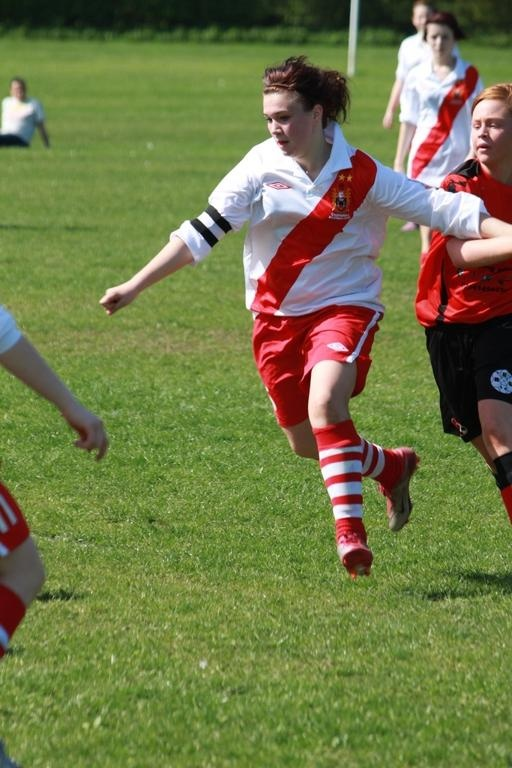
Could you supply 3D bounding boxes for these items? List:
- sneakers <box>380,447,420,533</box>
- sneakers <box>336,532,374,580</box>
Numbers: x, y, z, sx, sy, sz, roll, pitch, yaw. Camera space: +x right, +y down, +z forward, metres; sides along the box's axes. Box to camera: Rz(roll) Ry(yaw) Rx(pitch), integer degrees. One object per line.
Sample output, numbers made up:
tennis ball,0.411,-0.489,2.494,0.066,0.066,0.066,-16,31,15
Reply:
sneakers,0.527,0.416,3.769,0.200,0.351,0.123,-8,12,-34
sneakers,0.301,0.540,2.956,0.069,0.178,0.081,-6,40,7
